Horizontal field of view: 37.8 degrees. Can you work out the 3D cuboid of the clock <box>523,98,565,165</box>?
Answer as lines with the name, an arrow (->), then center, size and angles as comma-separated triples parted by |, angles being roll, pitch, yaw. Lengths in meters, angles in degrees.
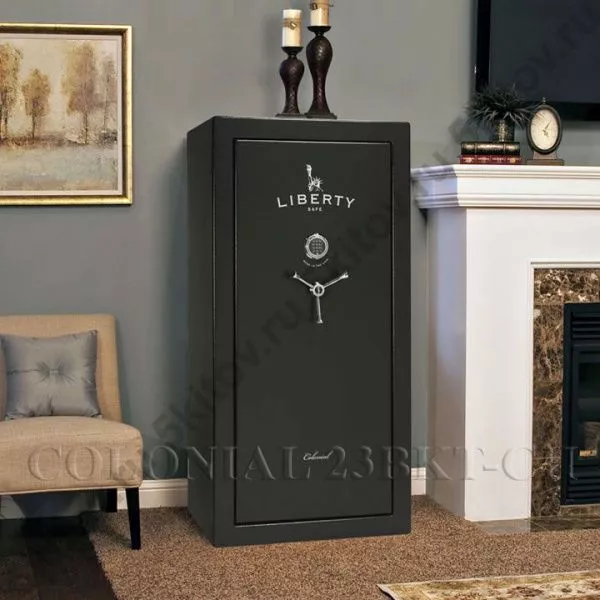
clock -> 1.101, -0.756, 3.971 | 0.157, 0.245, 0.080 | 1, 6, 8

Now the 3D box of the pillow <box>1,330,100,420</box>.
pillow -> -1.018, 0.307, 3.595 | 0.396, 0.339, 0.103 | 2, -13, -20

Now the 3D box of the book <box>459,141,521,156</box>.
book -> 0.842, -0.670, 3.882 | 0.258, 0.057, 0.051 | -1, 6, -9

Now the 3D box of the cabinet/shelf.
cabinet/shelf -> -0.007, 0.184, 3.769 | 0.921, 1.639, 0.563 | -5, -23, 3

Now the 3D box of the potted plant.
potted plant -> 0.945, -0.854, 4.057 | 0.315, 0.203, 0.302 | 0, 2, -13

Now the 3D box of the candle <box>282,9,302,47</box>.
candle -> -0.038, -1.161, 3.779 | 0.076, 0.160, 0.094 | 0, 6, 1
